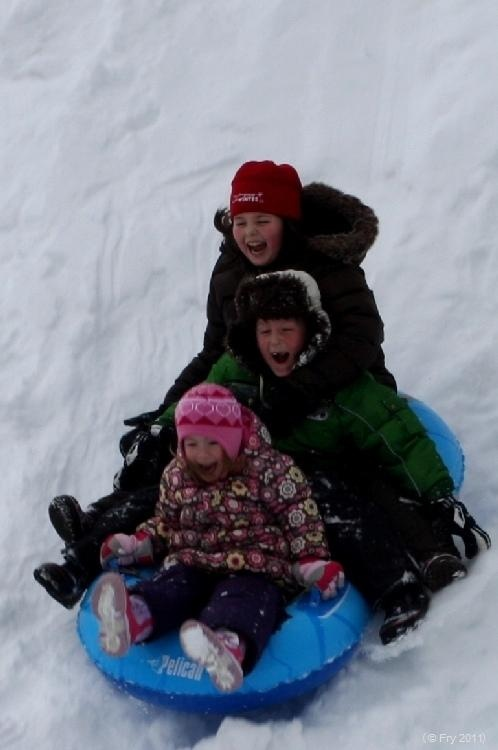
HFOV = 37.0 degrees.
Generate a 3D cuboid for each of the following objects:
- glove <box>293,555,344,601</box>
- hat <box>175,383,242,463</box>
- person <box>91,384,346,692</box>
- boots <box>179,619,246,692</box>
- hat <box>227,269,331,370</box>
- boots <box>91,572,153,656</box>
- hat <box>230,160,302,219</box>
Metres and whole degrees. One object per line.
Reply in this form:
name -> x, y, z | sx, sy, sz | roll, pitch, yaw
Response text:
glove -> 0.238, 0.668, 2.470 | 0.133, 0.068, 0.163 | 3, -6, -20
hat -> -0.158, 0.169, 2.667 | 0.241, 0.286, 0.272 | 0, 12, -1
person -> -0.131, 0.497, 2.554 | 0.912, 0.766, 1.134 | -1, 4, 11
boots -> -0.071, 0.783, 2.221 | 0.135, 0.166, 0.316 | -29, -11, 6
hat -> 0.168, -0.183, 3.102 | 0.403, 0.384, 0.435 | -2, -13, 10
boots -> -0.374, 0.710, 2.298 | 0.177, 0.271, 0.107 | 3, 27, 32
hat -> 0.070, -0.893, 3.588 | 0.372, 0.264, 0.334 | -2, 6, -39
